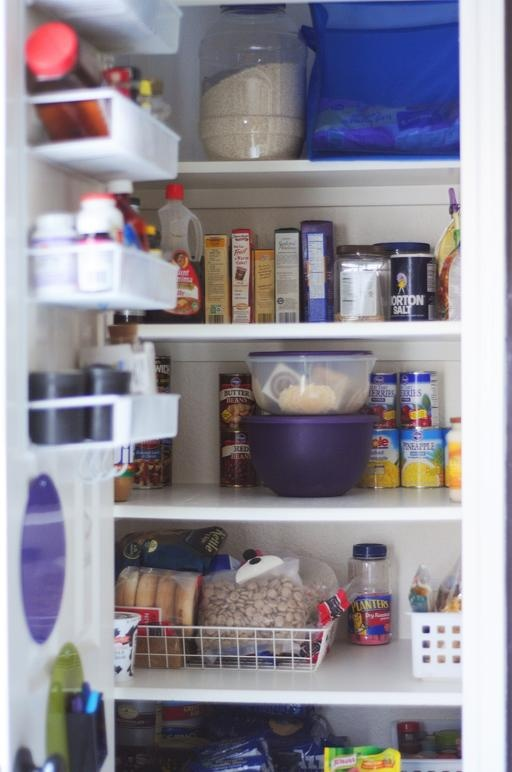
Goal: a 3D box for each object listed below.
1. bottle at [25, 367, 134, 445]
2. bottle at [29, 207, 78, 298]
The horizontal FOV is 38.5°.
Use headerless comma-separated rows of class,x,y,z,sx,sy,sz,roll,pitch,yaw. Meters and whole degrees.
bottle,-0.171,0.017,0.717,0.088,0.077,0.095,-2,1,-6
bottle,-0.187,-0.124,0.676,0.042,0.080,0.048,-2,0,-15
